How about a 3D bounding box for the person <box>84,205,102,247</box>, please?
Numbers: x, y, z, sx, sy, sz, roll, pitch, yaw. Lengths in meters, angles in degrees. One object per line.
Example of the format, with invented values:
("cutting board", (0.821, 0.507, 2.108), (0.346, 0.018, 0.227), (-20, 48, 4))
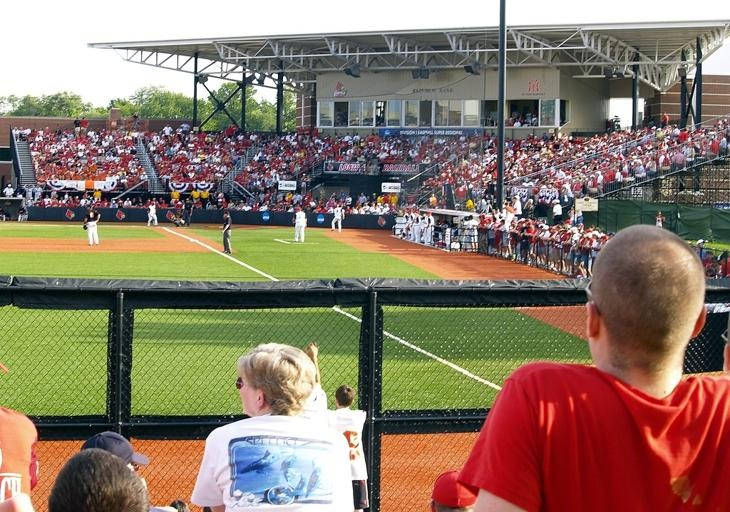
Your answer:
("person", (-15.616, -1.538, 91.062), (1.011, 2.306, 0.626), (2, -32, -20))
